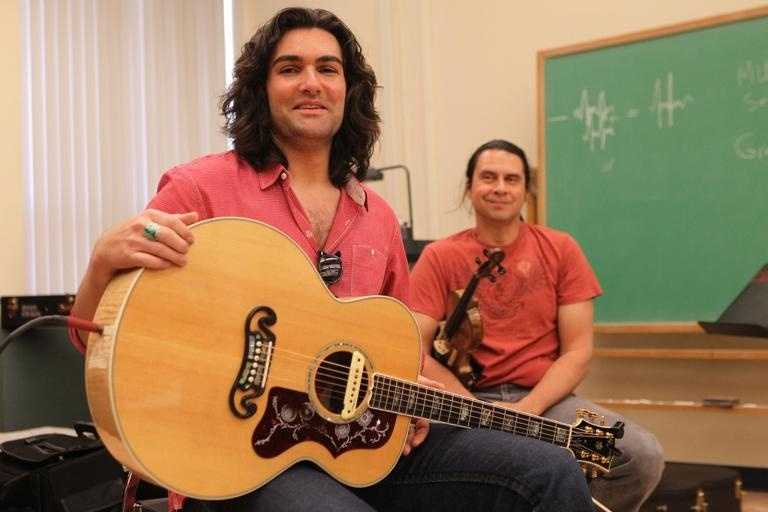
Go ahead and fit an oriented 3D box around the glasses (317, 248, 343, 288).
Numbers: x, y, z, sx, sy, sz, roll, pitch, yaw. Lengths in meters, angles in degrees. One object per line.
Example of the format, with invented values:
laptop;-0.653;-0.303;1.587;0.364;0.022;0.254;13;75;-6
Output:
glasses;-0.205;0.045;3.074;0.101;0.135;0.043;-4;-6;-24

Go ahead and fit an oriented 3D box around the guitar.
guitar;-0.019;0.518;3.001;1.960;0.971;0.282;14;-5;-10

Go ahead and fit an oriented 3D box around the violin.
violin;0.336;0.316;3.673;0.341;0.684;0.308;0;18;-13

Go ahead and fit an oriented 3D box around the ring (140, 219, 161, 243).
ring;-0.824;-0.093;2.720;0.047;0.067;0.018;0;-7;11
